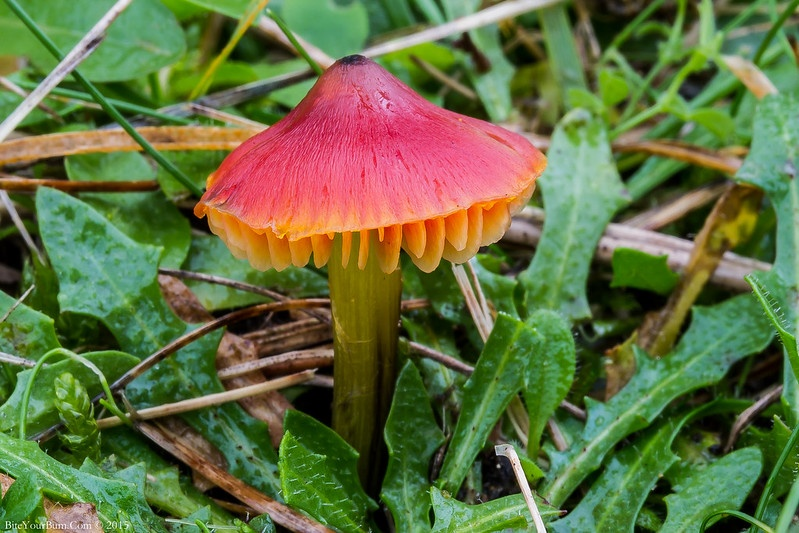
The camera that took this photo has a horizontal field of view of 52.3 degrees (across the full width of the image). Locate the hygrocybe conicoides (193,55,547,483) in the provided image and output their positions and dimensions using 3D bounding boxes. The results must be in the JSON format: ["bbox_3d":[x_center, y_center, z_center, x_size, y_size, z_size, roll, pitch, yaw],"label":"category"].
[{"bbox_3d":[-0.062,-0.052,1.753,0.688,0.813,0.617,1,12,1],"label":"hygrocybe conicoides"}]
